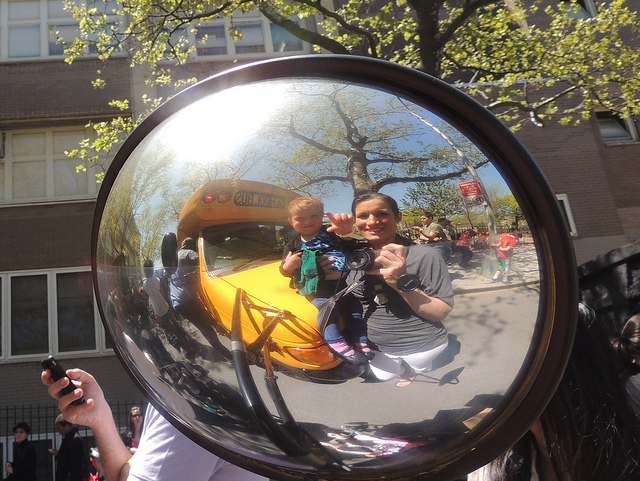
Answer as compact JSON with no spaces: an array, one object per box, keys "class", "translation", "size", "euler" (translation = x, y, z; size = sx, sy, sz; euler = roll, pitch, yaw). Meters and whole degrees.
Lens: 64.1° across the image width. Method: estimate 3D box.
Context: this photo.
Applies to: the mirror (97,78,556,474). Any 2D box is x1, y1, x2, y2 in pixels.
[{"class":"mirror","translation":[-0.026,0.079,1.095],"size":[0.938,0.857,0.225],"euler":[-6,-4,24]}]
